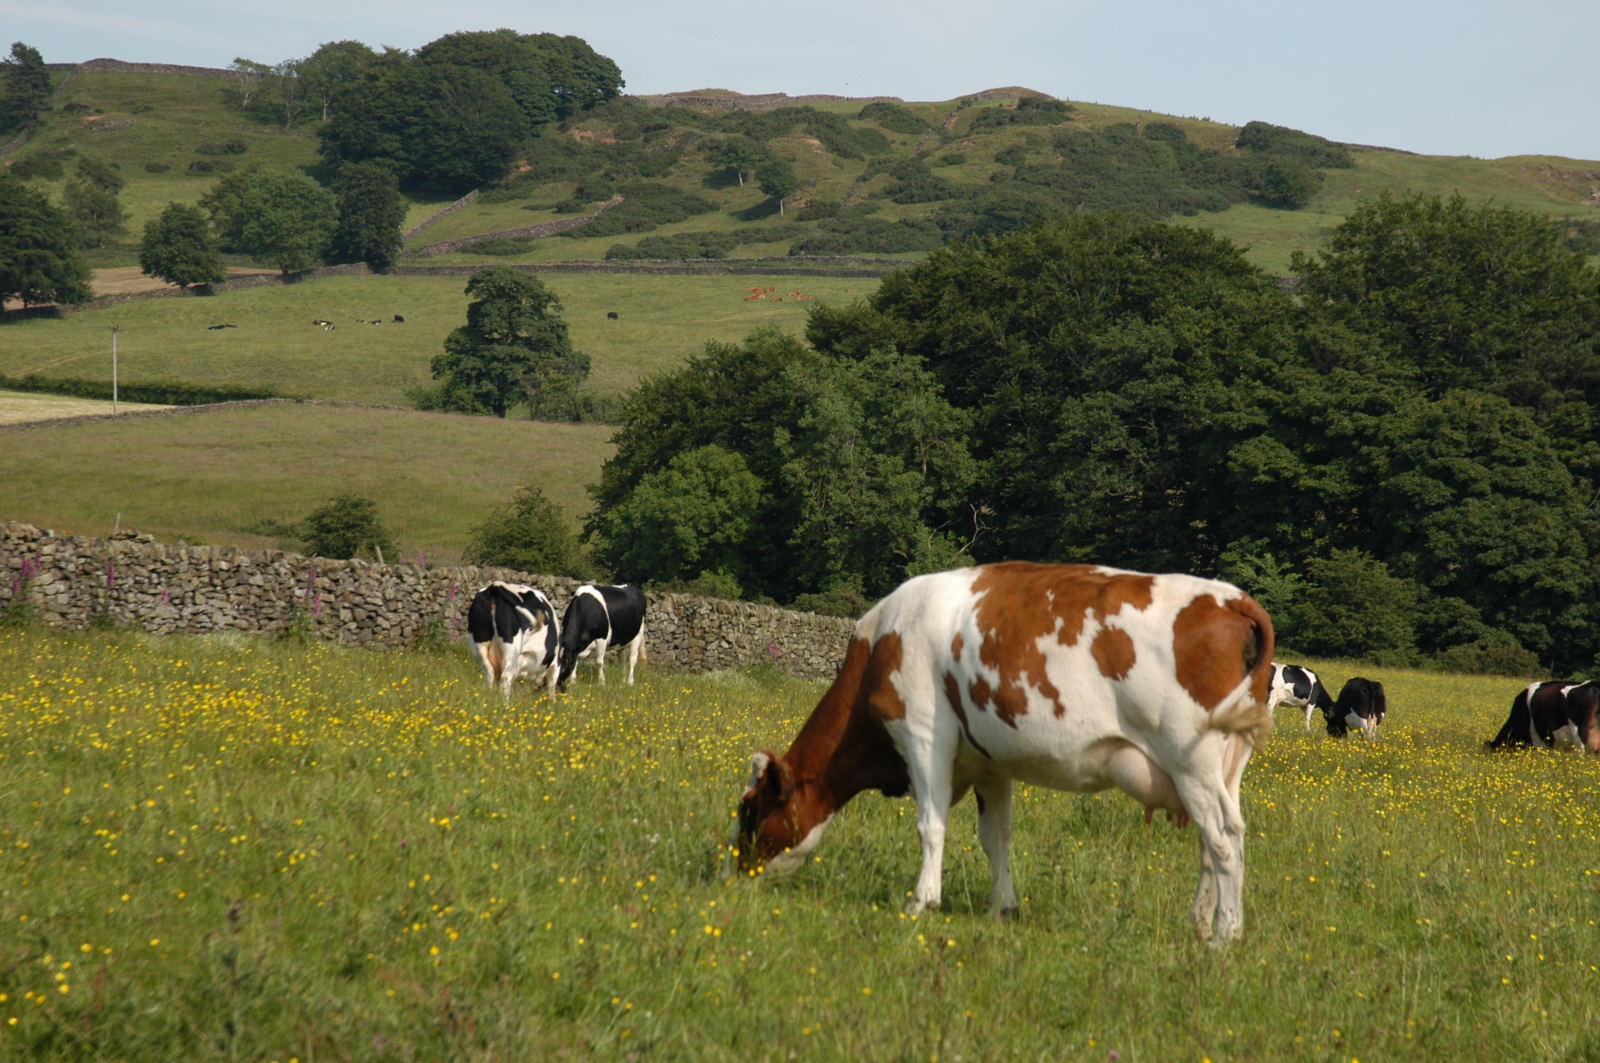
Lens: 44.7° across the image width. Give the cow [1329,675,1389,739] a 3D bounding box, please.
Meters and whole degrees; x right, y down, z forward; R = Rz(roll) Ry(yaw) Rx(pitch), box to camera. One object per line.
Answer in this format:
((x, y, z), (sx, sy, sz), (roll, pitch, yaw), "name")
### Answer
((22.127, 7.022, 77.642), (2.057, 2.235, 1.844), (8, 6, 22), "cow")
